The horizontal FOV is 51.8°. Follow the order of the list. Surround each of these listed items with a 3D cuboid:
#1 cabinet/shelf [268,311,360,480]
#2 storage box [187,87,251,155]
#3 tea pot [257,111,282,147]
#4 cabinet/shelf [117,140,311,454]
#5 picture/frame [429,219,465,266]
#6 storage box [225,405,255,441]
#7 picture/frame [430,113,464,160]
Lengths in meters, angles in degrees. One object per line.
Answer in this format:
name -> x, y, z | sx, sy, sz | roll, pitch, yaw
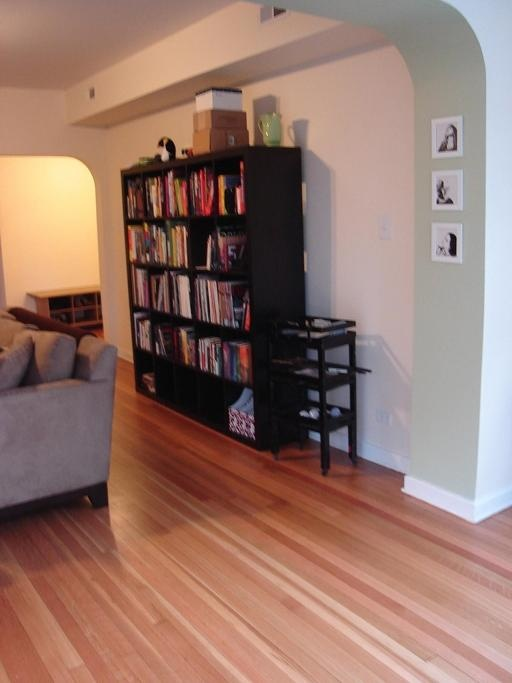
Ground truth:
cabinet/shelf -> 0.348, 0.311, 3.131 | 0.300, 0.919, 0.638 | -11, 18, -36
storage box -> -0.254, -1.393, 3.593 | 0.449, 0.551, 0.364 | -9, 16, -32
tea pot -> 0.120, -1.370, 3.402 | 0.174, 0.257, 0.151 | 12, 16, 43
cabinet/shelf -> -0.269, -0.302, 3.681 | 0.445, 2.068, 1.849 | -8, 14, -29
picture/frame -> 0.822, -0.434, 2.264 | 0.006, 0.164, 0.147 | -15, 38, -33
storage box -> -0.087, 0.553, 3.519 | 0.100, 0.190, 0.401 | -4, 6, -23
picture/frame -> 0.793, -0.857, 2.180 | 0.006, 0.212, 0.179 | -14, 18, -34
